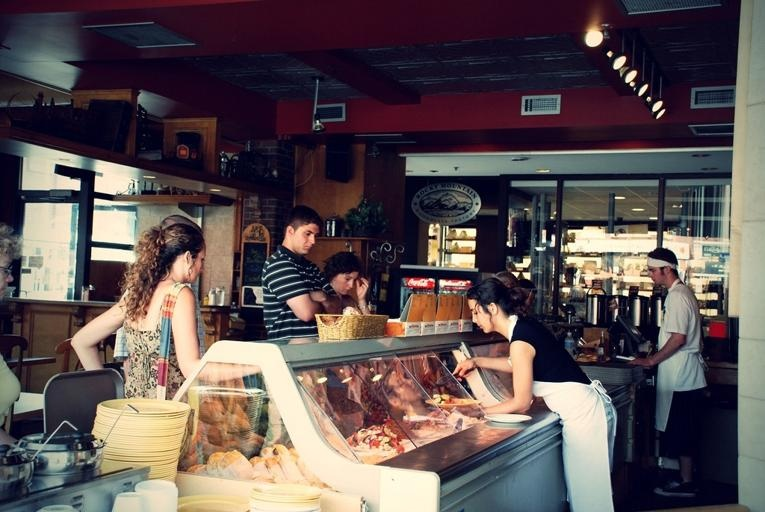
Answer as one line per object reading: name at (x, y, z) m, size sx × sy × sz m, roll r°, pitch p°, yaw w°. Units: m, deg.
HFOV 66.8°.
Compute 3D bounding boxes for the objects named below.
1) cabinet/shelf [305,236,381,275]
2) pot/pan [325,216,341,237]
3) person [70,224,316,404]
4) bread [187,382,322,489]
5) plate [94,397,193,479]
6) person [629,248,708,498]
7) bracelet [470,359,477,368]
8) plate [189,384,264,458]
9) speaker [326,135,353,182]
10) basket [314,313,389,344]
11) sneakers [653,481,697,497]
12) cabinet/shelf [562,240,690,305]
cabinet/shelf at (-0.674, -0.113, 8.676) m, size 0.913 × 0.798 × 0.626 m, roll 0°, pitch 1°, yaw 15°
pot/pan at (-0.737, -0.450, 8.745) m, size 0.288 × 0.306 × 0.287 m, roll 2°, pitch 1°, yaw 33°
person at (-1.118, 0.290, 2.975) m, size 1.245 × 0.903 × 0.497 m, roll 1°, pitch 0°, yaw 44°
bread at (-0.572, 0.779, 2.540) m, size 0.481 × 0.224 × 0.465 m, roll 4°, pitch -6°, yaw -26°
plate at (-0.985, 0.727, 2.414) m, size 0.359 × 0.250 × 0.347 m, roll 1°, pitch -5°, yaw 40°
person at (2.763, 1.029, 5.496) m, size 0.574 × 2.350 × 0.921 m, roll 2°, pitch 0°, yaw 29°
bracelet at (0.575, 0.679, 3.662) m, size 0.039 × 0.069 × 0.055 m, roll -20°, pitch -14°, yaw 4°
plate at (-0.666, 0.695, 2.588) m, size 0.347 × 0.324 × 0.333 m, roll -1°, pitch -10°, yaw 6°
speaker at (-0.634, -1.406, 8.571) m, size 0.435 × 0.630 × 0.548 m, roll 2°, pitch 0°, yaw -7°
basket at (-0.190, 0.370, 3.047) m, size 0.272 × 0.138 × 0.489 m, roll 1°, pitch 0°, yaw 25°
sneakers at (2.663, 2.086, 5.189) m, size 0.400 × 0.149 × 0.143 m, roll 4°, pitch -13°, yaw -7°
cabinet/shelf at (3.726, 0.231, 8.715) m, size 1.109 × 0.960 × 0.318 m, roll 3°, pitch -4°, yaw 2°
